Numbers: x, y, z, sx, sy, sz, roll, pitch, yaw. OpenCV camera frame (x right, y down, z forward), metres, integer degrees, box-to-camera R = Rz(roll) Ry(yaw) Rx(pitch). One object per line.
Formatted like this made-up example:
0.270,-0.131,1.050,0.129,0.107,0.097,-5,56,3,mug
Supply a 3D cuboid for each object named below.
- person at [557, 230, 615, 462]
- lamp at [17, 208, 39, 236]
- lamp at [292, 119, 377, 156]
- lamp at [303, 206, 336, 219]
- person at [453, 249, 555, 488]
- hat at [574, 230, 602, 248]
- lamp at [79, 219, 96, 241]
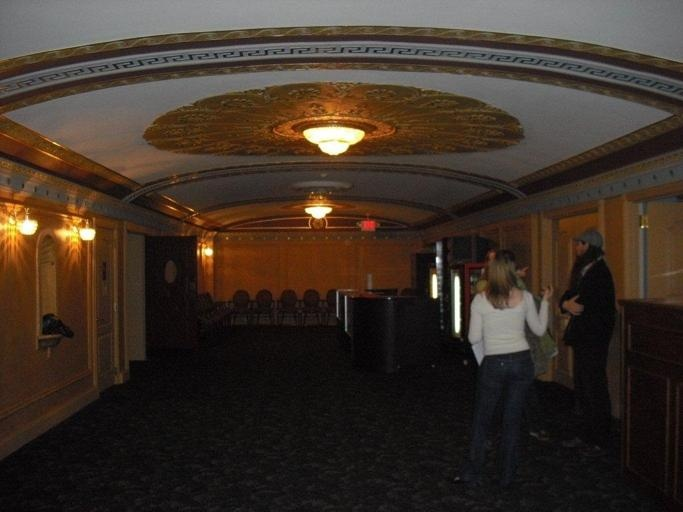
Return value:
2.840,0.947,5.859,0.523,2.506,0.589,-2,1,-13,person
-4.110,-0.435,6.741,0.180,0.341,0.510,-1,0,-19,lamp
-0.076,-1.603,7.077,1.166,0.324,1.049,3,-2,-18,lamp
-0.684,-1.187,13.642,0.647,0.225,0.639,-2,-1,38,lamp
1.527,1.105,4.832,0.882,2.234,0.623,-1,1,10,person
2.912,-0.204,6.103,0.252,0.150,0.318,3,6,-32,hat
-4.079,-0.401,8.285,0.345,0.353,0.302,-1,-2,-5,lamp
